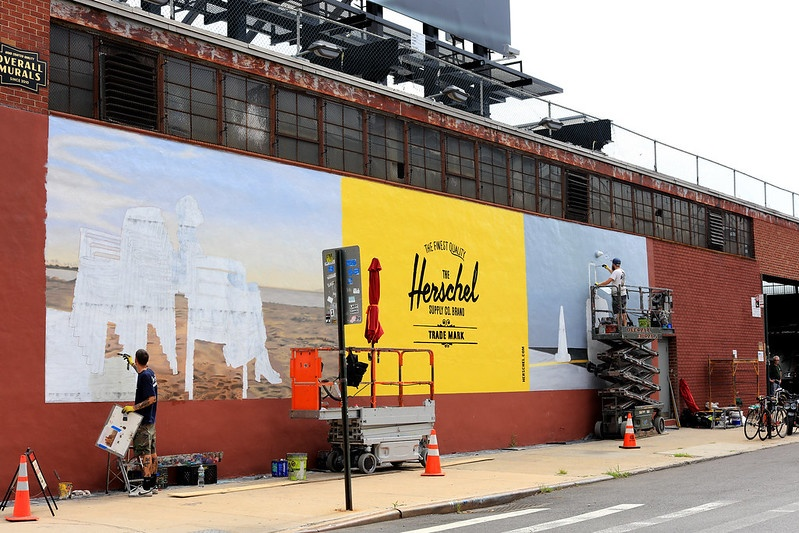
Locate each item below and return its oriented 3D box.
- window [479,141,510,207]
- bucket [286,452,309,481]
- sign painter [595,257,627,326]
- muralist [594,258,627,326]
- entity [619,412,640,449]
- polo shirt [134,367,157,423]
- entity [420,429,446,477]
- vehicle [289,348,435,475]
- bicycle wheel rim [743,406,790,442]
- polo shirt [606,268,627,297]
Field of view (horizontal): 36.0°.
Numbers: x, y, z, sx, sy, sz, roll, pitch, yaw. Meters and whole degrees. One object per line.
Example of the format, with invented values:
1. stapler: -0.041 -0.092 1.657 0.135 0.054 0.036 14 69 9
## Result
1. window: 2.679 -2.659 35.615 0.066 1.774 1.904 -13 -20 39
2. bucket: -2.388 4.683 28.724 0.436 0.649 0.501 0 -11 -8
3. sign painter: 6.479 0.774 37.597 0.964 2.080 0.945 -1 -1 6
4. muralist: 6.479 0.780 37.582 0.963 2.050 0.956 -1 -1 6
5. entity: 6.421 4.662 34.536 0.915 1.102 0.832 -3 -5 12
6. polo shirt: -5.571 2.864 27.081 0.538 1.193 1.132 1 -11 -7
7. entity: 0.823 4.387 29.173 0.870 1.002 0.871 -2 -2 17
8. vehicle: -0.877 3.519 29.999 1.504 2.813 3.948 -9 -10 43
9. bicycle wheel rim: 10.940 4.628 36.439 1.593 0.830 0.766 9 -15 -38
10. polo shirt: 6.609 0.513 37.794 0.532 0.861 0.931 -6 -6 44
